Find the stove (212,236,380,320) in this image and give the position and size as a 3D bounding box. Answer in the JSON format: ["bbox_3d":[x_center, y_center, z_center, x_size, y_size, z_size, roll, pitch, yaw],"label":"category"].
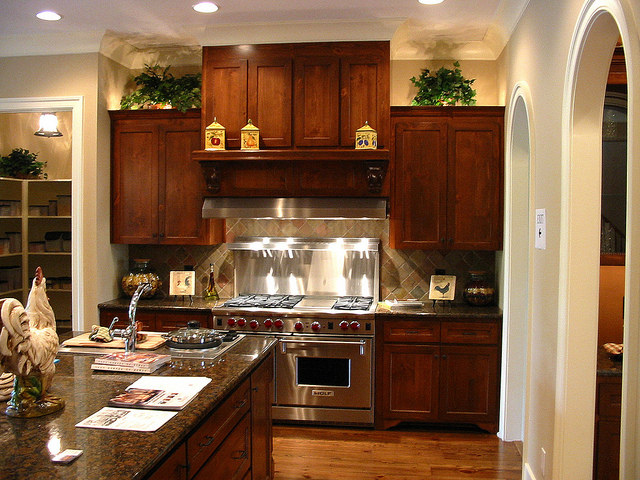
[{"bbox_3d":[-0.189,0.451,5.114,1.517,0.895,0.591,0,6,13],"label":"stove"}]

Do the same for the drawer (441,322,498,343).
[{"bbox_3d":[1.288,0.797,4.592,0.328,0.154,0.209,0,-1,6],"label":"drawer"}]

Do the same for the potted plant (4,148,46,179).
[{"bbox_3d":[-3.267,-0.854,6.006,0.321,0.233,0.340,4,7,33],"label":"potted plant"}]

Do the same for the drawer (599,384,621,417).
[{"bbox_3d":[1.779,0.986,3.384,0.114,0.195,0.150,-4,-20,44],"label":"drawer"}]

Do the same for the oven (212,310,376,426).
[{"bbox_3d":[-0.229,1.245,5.058,1.571,1.017,0.881,1,-26,8],"label":"oven"}]

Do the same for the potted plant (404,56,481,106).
[{"bbox_3d":[1.263,-1.455,5.009,0.497,0.354,0.430,-19,21,-39],"label":"potted plant"}]

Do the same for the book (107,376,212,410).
[{"bbox_3d":[-0.827,0.786,2.853,0.401,0.033,0.412,5,12,10],"label":"book"}]

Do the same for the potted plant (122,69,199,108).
[{"bbox_3d":[-1.461,-1.395,5.113,0.503,0.244,0.487,8,17,39],"label":"potted plant"}]

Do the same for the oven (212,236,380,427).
[{"bbox_3d":[-0.198,0.797,5.092,1.440,1.628,0.790,1,2,6],"label":"oven"}]

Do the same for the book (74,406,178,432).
[{"bbox_3d":[-0.917,0.848,2.585,0.426,0.022,0.189,4,12,6],"label":"book"}]
